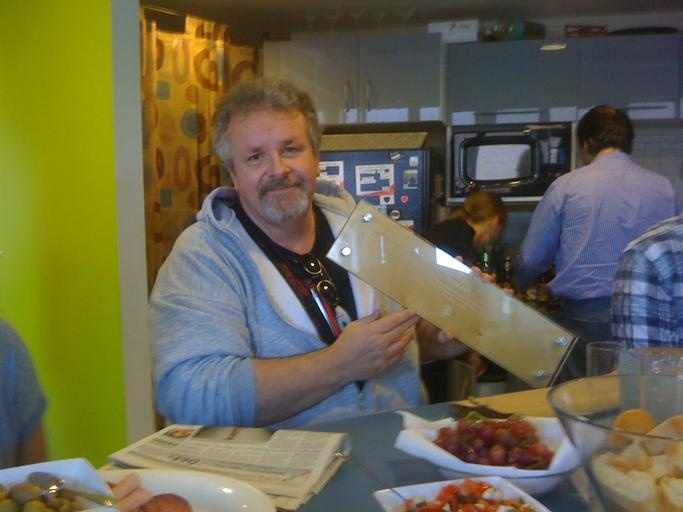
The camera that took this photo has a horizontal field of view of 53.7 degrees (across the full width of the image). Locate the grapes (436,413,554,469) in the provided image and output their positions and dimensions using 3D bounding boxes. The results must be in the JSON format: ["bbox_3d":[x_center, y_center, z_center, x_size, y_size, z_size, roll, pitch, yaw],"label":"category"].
[{"bbox_3d":[0.285,0.329,1.236,0.121,0.043,0.104,0,9,5],"label":"grapes"}]

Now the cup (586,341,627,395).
[{"bbox_3d":[0.541,0.242,1.425,0.086,0.093,0.085,0,-3,0],"label":"cup"}]

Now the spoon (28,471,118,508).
[{"bbox_3d":[-0.397,0.340,0.987,0.124,0.050,0.019,-3,4,5],"label":"spoon"}]

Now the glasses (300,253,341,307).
[{"bbox_3d":[-0.072,0.065,1.878,0.077,0.144,0.039,-22,-16,-43],"label":"glasses"}]

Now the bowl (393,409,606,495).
[{"bbox_3d":[0.272,0.361,1.223,0.208,0.055,0.176,1,6,2],"label":"bowl"}]
